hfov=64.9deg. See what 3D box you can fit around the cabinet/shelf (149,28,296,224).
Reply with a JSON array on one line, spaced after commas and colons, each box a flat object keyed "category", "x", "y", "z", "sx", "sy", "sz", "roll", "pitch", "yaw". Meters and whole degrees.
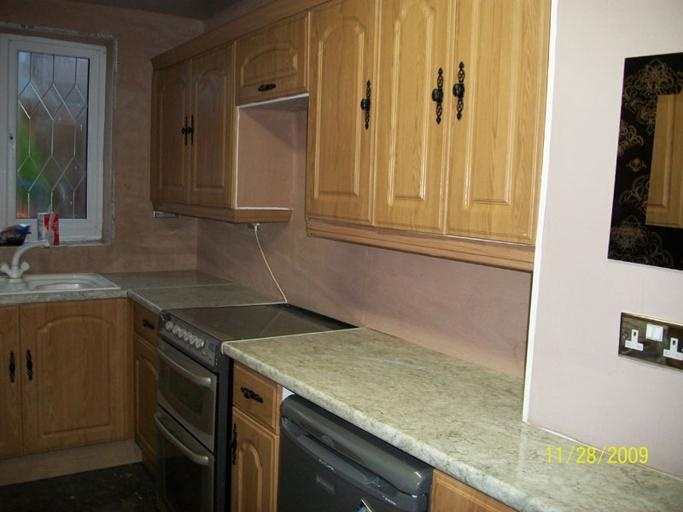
[{"category": "cabinet/shelf", "x": -0.804, "y": -0.748, "z": 3.460, "sx": 0.453, "sy": 1.062, "sz": 1.207, "roll": -2, "pitch": 9, "yaw": -40}]
